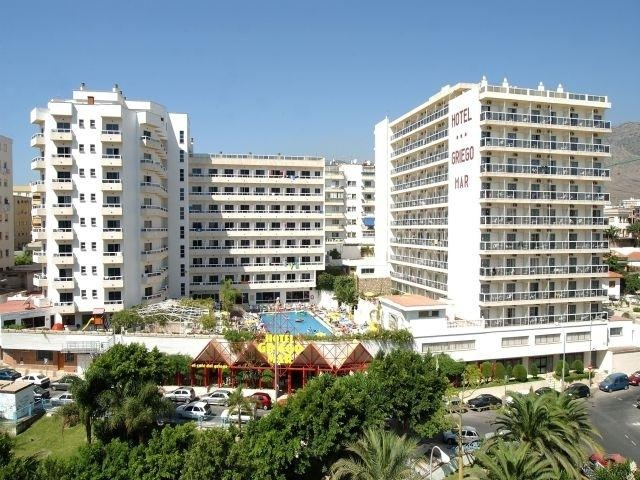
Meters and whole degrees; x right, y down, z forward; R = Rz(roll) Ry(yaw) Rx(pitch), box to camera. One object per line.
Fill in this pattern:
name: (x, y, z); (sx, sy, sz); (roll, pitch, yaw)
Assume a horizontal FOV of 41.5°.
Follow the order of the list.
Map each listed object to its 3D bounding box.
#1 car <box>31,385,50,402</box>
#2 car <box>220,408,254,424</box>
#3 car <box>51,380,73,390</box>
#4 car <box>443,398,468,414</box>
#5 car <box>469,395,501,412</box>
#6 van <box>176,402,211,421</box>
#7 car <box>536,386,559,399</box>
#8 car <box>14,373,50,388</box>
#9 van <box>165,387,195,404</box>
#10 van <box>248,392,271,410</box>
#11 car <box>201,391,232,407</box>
car: (-35.762, 19.459, 107.862); (2.510, 0.906, 1.240); (15, 16, 31)
car: (-10.126, 21.499, 101.772); (3.934, 2.078, 2.474); (4, -2, 2)
car: (-33.943, 18.833, 110.295); (2.360, 1.357, 0.990); (-2, -6, 22)
car: (16.211, 19.829, 102.191); (3.196, 1.482, 4.680); (1, 5, 5)
car: (20.625, 20.389, 106.771); (3.839, 1.841, 2.264); (2, 0, -7)
van: (-15.560, 20.811, 103.589); (3.206, 1.463, 2.122); (5, 6, 4)
car: (26.095, 17.507, 97.642); (2.610, 1.302, 4.224); (-2, -8, -1)
car: (-37.257, 18.336, 110.684); (3.177, 1.708, 2.760); (-2, -6, 22)
van: (-17.430, 19.455, 106.768); (2.788, 1.354, 1.872); (5, 1, 2)
van: (-7.379, 19.978, 104.771); (2.520, 1.320, 1.546); (7, 2, 5)
car: (-12.799, 19.950, 106.226); (4.554, 1.684, 2.563); (3, 7, 6)
